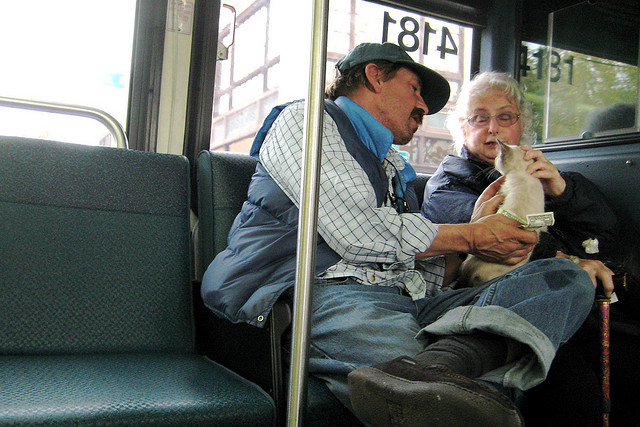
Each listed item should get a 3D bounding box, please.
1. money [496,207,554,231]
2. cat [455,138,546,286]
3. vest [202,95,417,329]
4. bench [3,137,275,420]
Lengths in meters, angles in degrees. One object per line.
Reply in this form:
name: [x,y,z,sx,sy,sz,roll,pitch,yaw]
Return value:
money: [0.756,0.018,2.021,0.158,0.076,0.135,2,5,-2]
cat: [0.665,0.014,2.007,0.166,0.482,0.342,31,-13,-15]
vest: [-0.034,-0.016,2.143,0.652,0.858,0.818,7,-1,31]
bench: [-0.588,0.180,1.916,0.876,0.825,0.890,3,-8,-15]
